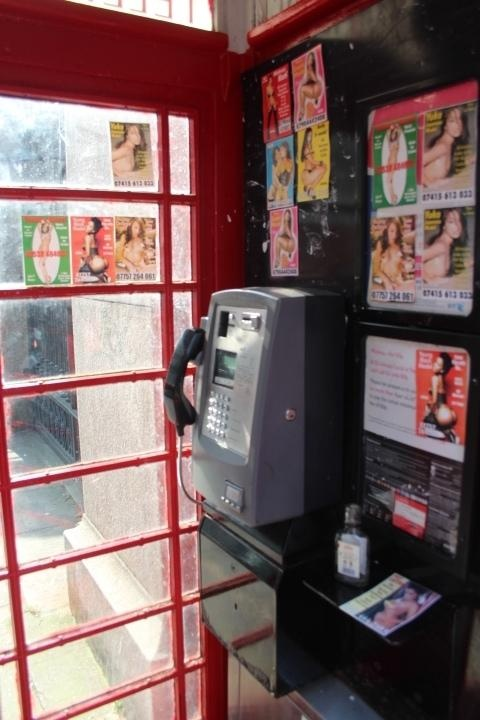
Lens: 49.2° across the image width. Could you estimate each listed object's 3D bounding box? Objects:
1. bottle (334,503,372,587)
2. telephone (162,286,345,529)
[{"bbox_3d":[0.220,0.360,1.042,0.060,0.153,0.088,-2,11,1],"label":"bottle"},{"bbox_3d":[0.031,0.056,1.351,0.419,0.719,0.421,-2,7,-31],"label":"telephone"}]
